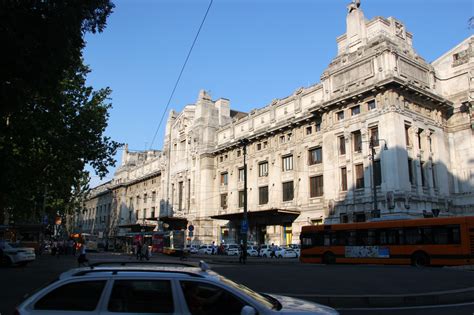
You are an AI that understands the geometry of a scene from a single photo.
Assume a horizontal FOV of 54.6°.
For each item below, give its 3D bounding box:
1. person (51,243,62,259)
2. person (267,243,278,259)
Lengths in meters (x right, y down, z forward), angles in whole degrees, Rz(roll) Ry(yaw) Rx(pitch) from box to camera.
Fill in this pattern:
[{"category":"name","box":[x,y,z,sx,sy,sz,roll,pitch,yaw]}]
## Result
[{"category":"person","box":[-20.136,10.602,51.467,0.944,0.838,2.944,-7,-2,-39]},{"category":"person","box":[3.776,9.921,48.036,0.883,1.316,1.873,1,-16,2]}]
